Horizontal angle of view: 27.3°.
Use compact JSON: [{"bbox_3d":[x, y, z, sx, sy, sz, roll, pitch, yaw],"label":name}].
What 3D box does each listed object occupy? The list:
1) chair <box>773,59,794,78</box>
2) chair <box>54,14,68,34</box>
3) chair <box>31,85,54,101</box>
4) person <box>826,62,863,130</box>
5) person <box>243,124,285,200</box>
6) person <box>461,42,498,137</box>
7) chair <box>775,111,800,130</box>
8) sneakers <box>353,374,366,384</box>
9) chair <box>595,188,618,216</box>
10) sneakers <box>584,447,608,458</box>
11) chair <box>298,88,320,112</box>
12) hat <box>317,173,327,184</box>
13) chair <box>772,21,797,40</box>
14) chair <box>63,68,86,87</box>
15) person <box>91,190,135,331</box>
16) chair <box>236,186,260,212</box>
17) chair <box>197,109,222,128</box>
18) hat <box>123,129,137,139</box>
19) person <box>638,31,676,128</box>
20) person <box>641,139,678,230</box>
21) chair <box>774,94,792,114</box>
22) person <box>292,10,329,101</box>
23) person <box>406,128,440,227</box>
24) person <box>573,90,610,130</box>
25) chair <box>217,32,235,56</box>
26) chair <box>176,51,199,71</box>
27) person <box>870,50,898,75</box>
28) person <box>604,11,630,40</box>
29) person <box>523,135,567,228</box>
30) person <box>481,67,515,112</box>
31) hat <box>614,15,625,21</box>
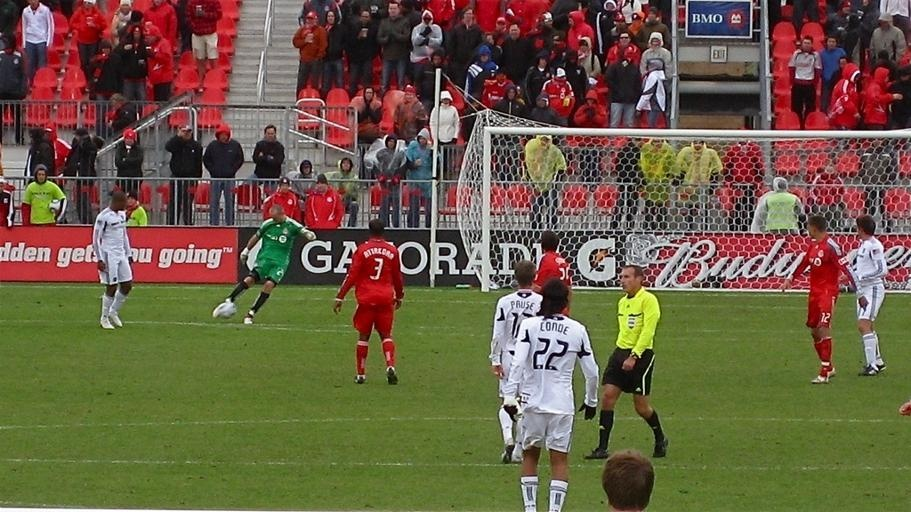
[{"bbox_3d":[10.357,-6.056,60.418,0.653,0.483,0.608,2,2,4],"label":"chair"},{"bbox_3d":[-13.138,-7.703,62.242,0.606,0.649,0.523,2,7,7],"label":"chair"},{"bbox_3d":[-13.338,-5.256,60.459,0.655,0.523,0.637,-4,7,-19],"label":"chair"},{"bbox_3d":[11.797,-4.924,57.817,0.938,1.993,0.822,1,5,11],"label":"person"},{"bbox_3d":[-5.763,-2.560,55.795,1.039,2.613,0.843,4,8,-29],"label":"person"},{"bbox_3d":[0.561,-4.877,57.858,1.114,3.139,0.784,1,11,-43],"label":"person"},{"bbox_3d":[10.207,-4.232,58.799,0.650,0.438,0.635,1,8,0],"label":"chair"},{"bbox_3d":[-2.456,3.039,46.622,0.252,0.181,0.180,-2,-2,39],"label":"sneakers"},{"bbox_3d":[4.241,-1.657,55.185,0.861,0.980,0.722,2,-7,-1],"label":"chair"},{"bbox_3d":[3.142,4.570,43.784,0.632,0.278,0.210,1,2,6],"label":"sneakers"},{"bbox_3d":[-4.585,-4.847,57.988,0.810,0.756,2.737,0,5,-4],"label":"chair"},{"bbox_3d":[-3.986,-2.270,54.908,0.304,0.254,0.518,0,5,-2],"label":"hat"},{"bbox_3d":[10.513,-7.323,61.251,0.656,0.831,0.619,0,20,0],"label":"chair"},{"bbox_3d":[-12.382,-5.828,60.913,0.616,0.546,0.601,0,-2,-5],"label":"chair"},{"bbox_3d":[-9.117,0.074,49.786,0.970,3.593,0.974,-1,5,-11],"label":"person"},{"bbox_3d":[-6.187,-1.735,55.344,0.697,0.713,0.871,0,13,-11],"label":"chair"},{"bbox_3d":[-7.599,-4.250,57.545,0.632,0.580,0.587,1,0,-5],"label":"chair"},{"bbox_3d":[-9.700,-3.619,55.723,0.268,0.270,0.355,-2,25,-12],"label":"hat"},{"bbox_3d":[5.960,-5.424,57.711,0.979,2.888,1.195,1,5,12],"label":"person"},{"bbox_3d":[5.756,-1.989,54.843,0.984,2.361,0.621,1,5,4],"label":"person"},{"bbox_3d":[10.157,-4.826,59.282,0.569,0.651,0.548,0,-10,7],"label":"chair"},{"bbox_3d":[-4.662,-6.362,59.080,1.021,2.576,0.871,1,5,11],"label":"person"},{"bbox_3d":[-1.180,-2.254,55.546,0.785,2.742,1.168,0,5,-1],"label":"person"},{"bbox_3d":[4.006,-4.506,57.614,1.203,1.820,1.036,0,5,5],"label":"person"},{"bbox_3d":[-7.616,-6.985,61.683,0.768,0.641,0.705,-2,19,-14],"label":"chair"},{"bbox_3d":[-8.742,-6.351,60.701,0.626,0.583,0.517,2,24,-2],"label":"chair"},{"bbox_3d":[13.000,-5.954,57.659,0.766,0.814,0.446,10,51,21],"label":"person"},{"bbox_3d":[4.896,-7.179,58.525,0.782,0.740,0.712,-1,-7,5],"label":"person"},{"bbox_3d":[2.478,-2.181,54.856,1.192,2.710,0.439,0,5,2],"label":"person"},{"bbox_3d":[1.168,-5.042,57.542,1.137,1.143,0.432,-4,45,-18],"label":"person"},{"bbox_3d":[4.954,-7.394,58.340,0.257,0.189,0.266,5,4,25],"label":"hat"}]
